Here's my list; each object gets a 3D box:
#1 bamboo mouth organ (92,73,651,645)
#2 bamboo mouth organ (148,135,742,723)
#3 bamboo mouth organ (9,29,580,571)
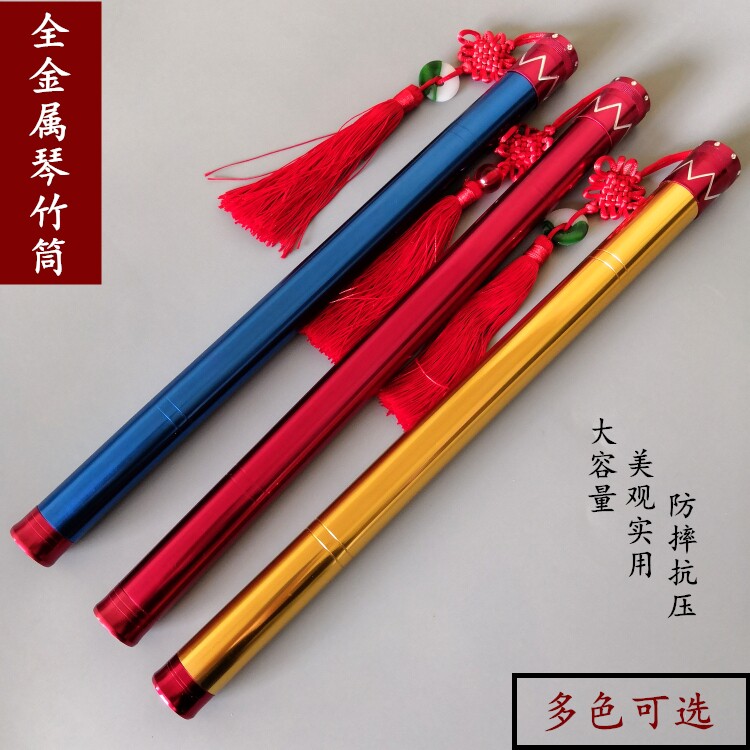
[{"bbox_3d":[0.009,0.012,1.320,0.172,1.257,0.134,52,-1,13],"label":"bamboo mouth organ"},{"bbox_3d":[0.117,0.115,1.309,0.157,1.380,0.145,56,-1,15],"label":"bamboo mouth organ"},{"bbox_3d":[-0.118,-0.080,1.339,0.157,1.202,0.137,51,0,14],"label":"bamboo mouth organ"}]
